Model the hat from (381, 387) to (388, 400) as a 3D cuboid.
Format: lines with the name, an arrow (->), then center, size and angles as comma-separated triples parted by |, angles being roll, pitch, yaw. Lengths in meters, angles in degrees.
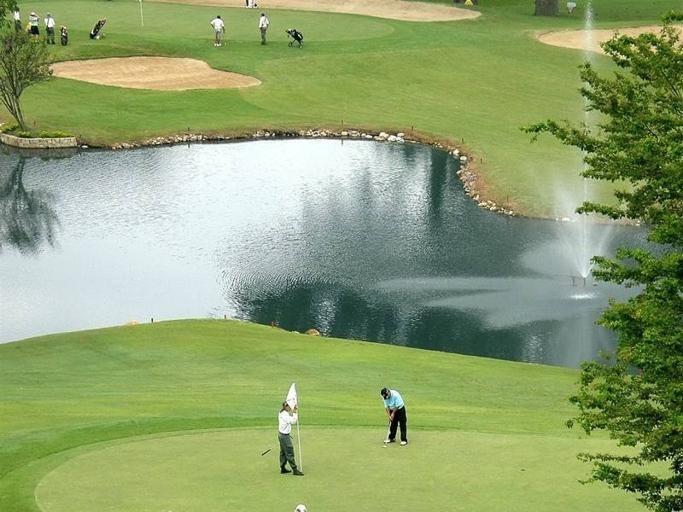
hat -> 1.917, 5.950, 49.065 | 0.411, 0.388, 0.499 | -2, 21, 4
